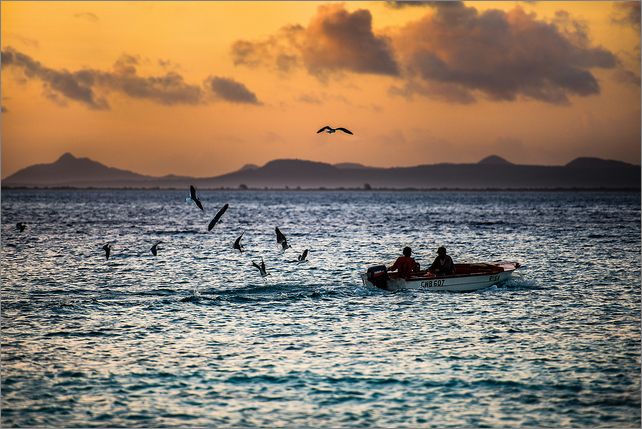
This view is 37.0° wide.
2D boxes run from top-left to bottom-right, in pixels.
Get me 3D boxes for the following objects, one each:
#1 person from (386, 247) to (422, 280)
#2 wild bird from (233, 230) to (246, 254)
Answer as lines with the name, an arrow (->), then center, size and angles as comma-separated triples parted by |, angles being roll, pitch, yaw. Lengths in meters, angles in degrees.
person -> 4.654, 2.637, 53.590 | 1.548, 1.774, 0.888 | 0, 12, 3
wild bird -> -6.119, 2.164, 72.176 | 0.999, 0.705, 1.703 | -11, -17, -12
